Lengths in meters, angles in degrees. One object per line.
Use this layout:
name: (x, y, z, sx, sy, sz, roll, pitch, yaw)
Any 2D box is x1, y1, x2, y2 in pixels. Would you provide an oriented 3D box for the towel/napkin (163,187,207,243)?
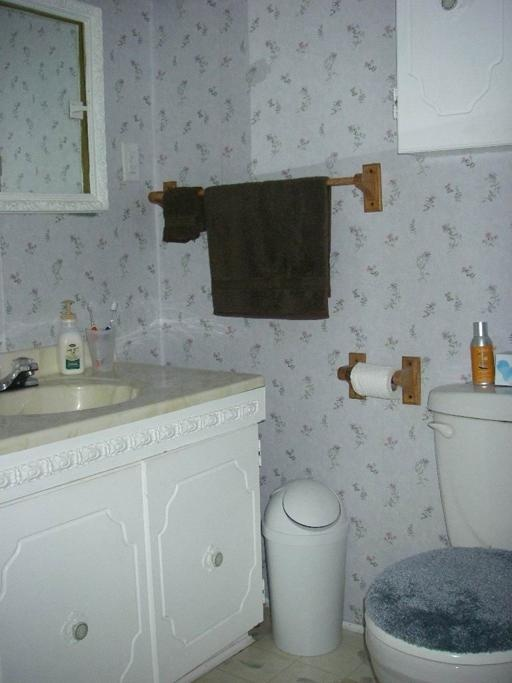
towel/napkin: (-0.218, -0.388, 1.871, 0.135, 0.169, 0.100, 3, 1, 29)

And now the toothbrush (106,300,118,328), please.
toothbrush: (-0.434, -0.084, 1.827, 0.027, 0.100, 0.017, 9, 38, -11)

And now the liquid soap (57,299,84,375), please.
liquid soap: (-0.492, -0.009, 1.608, 0.067, 0.195, 0.058, 2, 6, 42)

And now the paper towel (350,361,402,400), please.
paper towel: (0.306, 0.101, 1.571, 0.094, 0.096, 0.112, -1, 2, -42)

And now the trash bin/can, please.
trash bin/can: (0.132, 0.627, 1.670, 0.232, 0.465, 0.142, -1, 4, 16)

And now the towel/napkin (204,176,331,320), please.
towel/napkin: (0.042, -0.256, 1.667, 0.407, 0.391, 0.057, 4, 13, 30)

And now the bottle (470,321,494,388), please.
bottle: (0.525, 0.030, 1.409, 0.050, 0.147, 0.055, -2, 4, 0)

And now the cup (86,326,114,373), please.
cup: (-0.416, 0.022, 1.648, 0.073, 0.121, 0.049, -3, 4, -18)
